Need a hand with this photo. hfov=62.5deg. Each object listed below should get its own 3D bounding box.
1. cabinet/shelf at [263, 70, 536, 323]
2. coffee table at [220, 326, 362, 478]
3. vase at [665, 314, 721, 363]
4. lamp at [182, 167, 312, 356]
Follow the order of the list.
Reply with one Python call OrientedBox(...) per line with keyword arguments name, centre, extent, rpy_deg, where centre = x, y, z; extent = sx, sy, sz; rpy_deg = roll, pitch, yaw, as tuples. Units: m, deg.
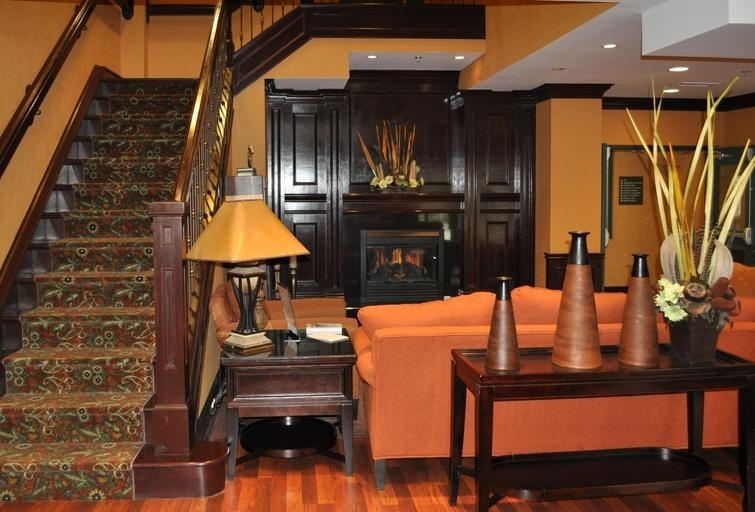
OrientedBox(name="cabinet/shelf", centre=(0.274, -0.736, 8.340), extent=(3.721, 3.215, 1.255), rpy_deg=(-2, 8, -22))
OrientedBox(name="coffee table", centre=(-0.588, 0.964, 4.508), extent=(0.959, 0.835, 0.921), rpy_deg=(-1, 4, -4))
OrientedBox(name="vase", centre=(1.852, 0.462, 3.772), extent=(0.314, 0.282, 0.273), rpy_deg=(0, 6, -10))
OrientedBox(name="lamp", centre=(-0.937, 0.037, 4.300), extent=(0.749, 1.217, 0.760), rpy_deg=(-7, 4, -45))
